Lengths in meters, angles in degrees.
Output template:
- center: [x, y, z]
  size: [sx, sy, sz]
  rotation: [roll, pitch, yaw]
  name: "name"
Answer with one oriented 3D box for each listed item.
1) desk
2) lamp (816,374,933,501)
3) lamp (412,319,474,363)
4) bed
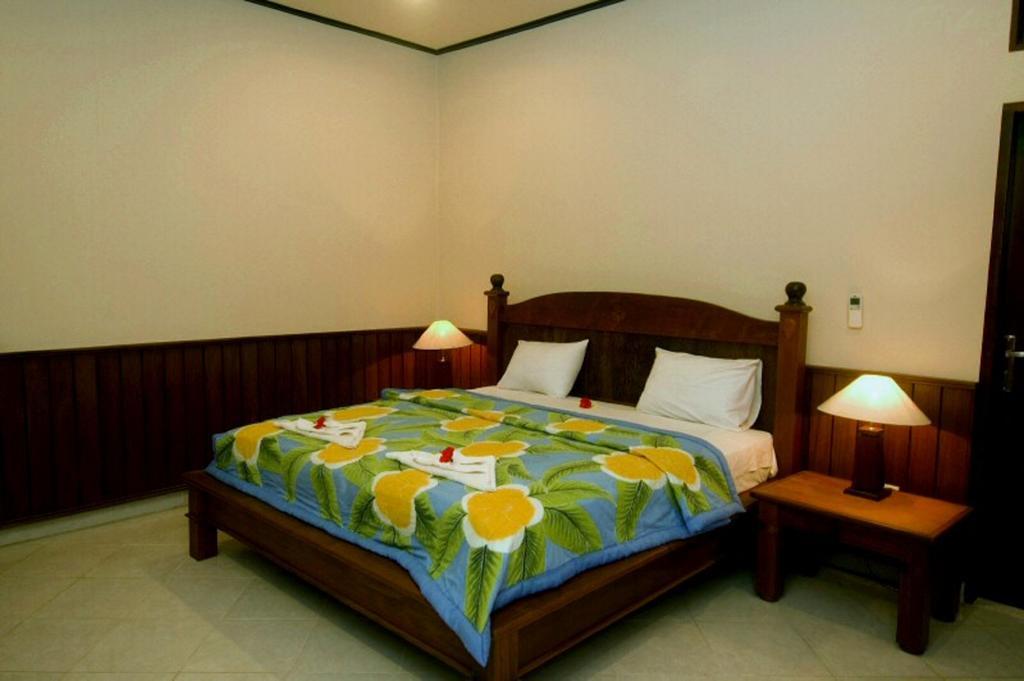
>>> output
- center: [2.031, 1.257, 4.205]
  size: [0.872, 0.687, 1.030]
  rotation: [-4, 8, -40]
  name: "desk"
- center: [2.001, 0.552, 4.356]
  size: [0.627, 0.787, 0.681]
  rotation: [1, 4, 9]
  name: "lamp"
- center: [-0.594, -0.064, 6.089]
  size: [0.404, 0.352, 0.397]
  rotation: [-9, 16, -32]
  name: "lamp"
- center: [0.045, 0.431, 4.530]
  size: [2.997, 1.672, 2.610]
  rotation: [-12, 19, -44]
  name: "bed"
